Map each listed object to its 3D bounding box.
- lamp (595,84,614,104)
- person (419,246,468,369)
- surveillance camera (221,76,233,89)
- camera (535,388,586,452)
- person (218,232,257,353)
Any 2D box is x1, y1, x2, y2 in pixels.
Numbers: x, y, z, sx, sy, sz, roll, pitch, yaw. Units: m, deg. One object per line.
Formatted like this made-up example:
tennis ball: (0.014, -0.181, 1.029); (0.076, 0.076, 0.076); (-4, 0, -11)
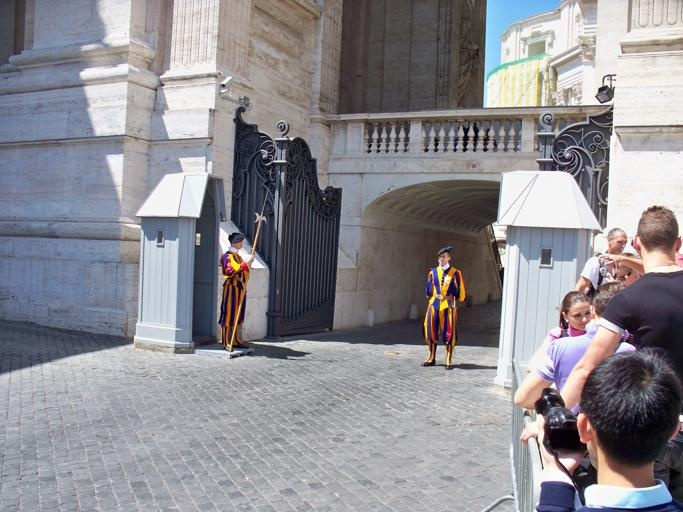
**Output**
lamp: (4.983, -3.107, 14.906); (0.284, 0.361, 0.750); (5, 9, 16)
person: (1.683, 0.850, 12.983); (0.597, 2.019, 0.808); (4, 8, 6)
surveillance camera: (-2.186, -3.299, 14.825); (0.090, 0.261, 0.238); (21, -15, -2)
camera: (1.510, 1.166, 5.583); (0.254, 0.378, 0.418); (-2, 10, -30)
person: (-1.726, 0.546, 12.825); (0.510, 1.883, 1.226); (2, 8, -7)
